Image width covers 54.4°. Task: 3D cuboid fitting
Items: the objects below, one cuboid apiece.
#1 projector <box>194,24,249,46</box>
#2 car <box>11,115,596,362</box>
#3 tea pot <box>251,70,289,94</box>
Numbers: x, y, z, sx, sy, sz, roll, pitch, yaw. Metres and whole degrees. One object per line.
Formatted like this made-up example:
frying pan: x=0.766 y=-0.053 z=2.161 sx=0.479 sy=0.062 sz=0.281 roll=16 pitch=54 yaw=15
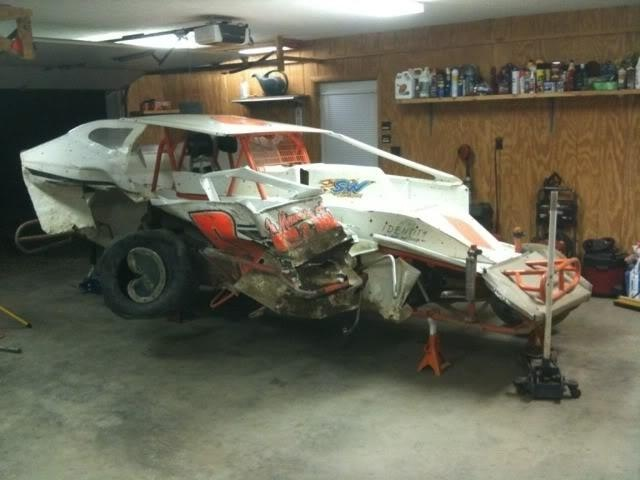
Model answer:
projector: x=-1.288 y=-2.828 z=8.583 sx=0.466 sy=0.149 sz=0.463 roll=-7 pitch=11 yaw=-44
car: x=-0.549 y=-0.209 z=7.028 sx=5.843 sy=1.411 sz=3.248 roll=5 pitch=14 yaw=28
tea pot: x=-0.865 y=-2.721 z=10.793 sx=0.507 sy=0.444 sz=0.624 roll=0 pitch=17 yaw=12
